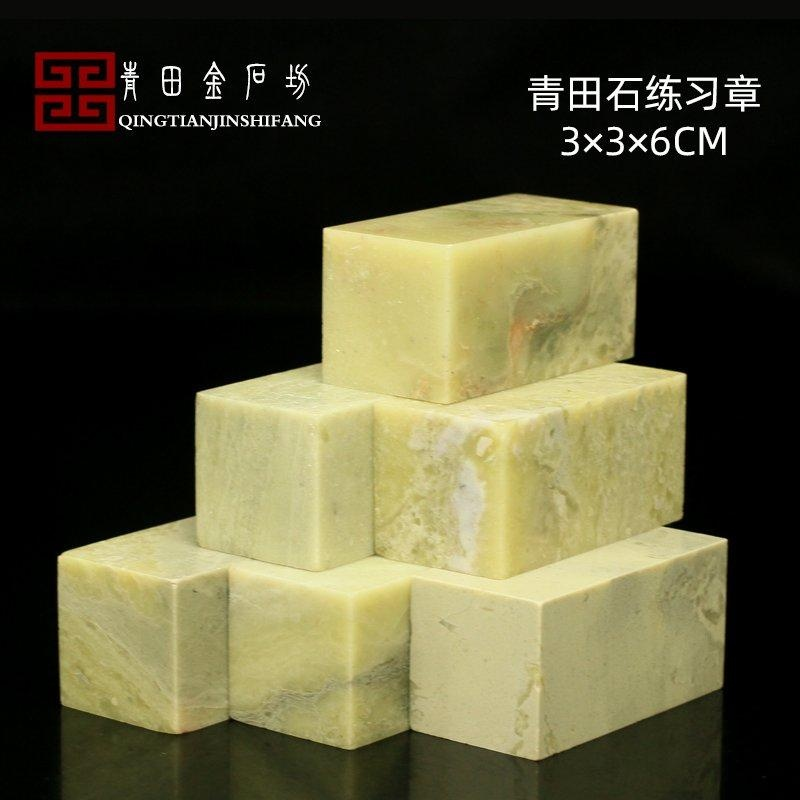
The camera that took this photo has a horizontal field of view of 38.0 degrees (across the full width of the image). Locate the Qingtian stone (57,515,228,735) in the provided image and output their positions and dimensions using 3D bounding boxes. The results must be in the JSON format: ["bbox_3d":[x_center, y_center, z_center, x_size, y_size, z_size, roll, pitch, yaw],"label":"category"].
[{"bbox_3d":[-0.356,0.334,1.733,0.293,0.233,0.273,4,5,6],"label":"Qingtian stone"}]

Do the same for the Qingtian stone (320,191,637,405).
[{"bbox_3d":[0.183,-0.162,1.839,0.528,0.214,0.269,-12,20,-35],"label":"Qingtian stone"}]

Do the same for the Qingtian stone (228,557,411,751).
[{"bbox_3d":[-0.114,0.333,1.682,0.284,0.216,0.284,6,7,40],"label":"Qingtian stone"}]
